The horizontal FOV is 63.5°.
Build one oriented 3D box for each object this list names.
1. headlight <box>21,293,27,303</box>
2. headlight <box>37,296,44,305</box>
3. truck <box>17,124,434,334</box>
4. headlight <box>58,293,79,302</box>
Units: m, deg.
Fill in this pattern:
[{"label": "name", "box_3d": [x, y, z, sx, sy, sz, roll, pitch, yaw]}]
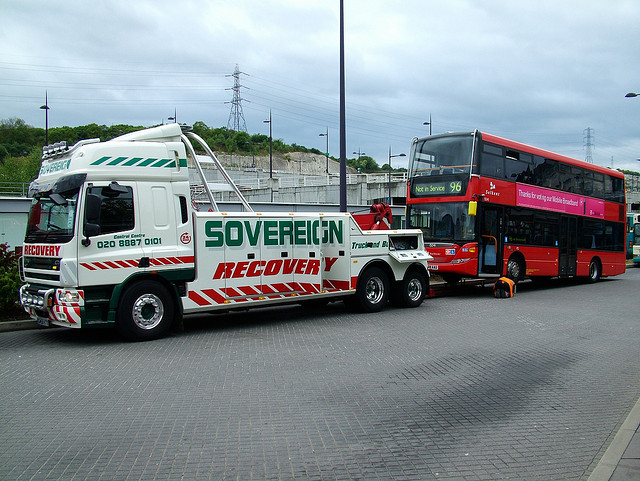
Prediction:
[{"label": "headlight", "box_3d": [-5.920, 1.146, 10.341, 0.123, 0.195, 0.045, 0, 0, 13]}, {"label": "headlight", "box_3d": [-5.331, 1.158, 9.849, 0.126, 0.191, 0.061, 3, -10, 7]}, {"label": "truck", "box_3d": [-1.371, -0.364, 14.284, 11.674, 4.934, 4.416, 3, -6, -37]}, {"label": "headlight", "box_3d": [-4.603, 1.041, 9.504, 0.222, 0.097, 0.178, 1, 3, 2]}]
